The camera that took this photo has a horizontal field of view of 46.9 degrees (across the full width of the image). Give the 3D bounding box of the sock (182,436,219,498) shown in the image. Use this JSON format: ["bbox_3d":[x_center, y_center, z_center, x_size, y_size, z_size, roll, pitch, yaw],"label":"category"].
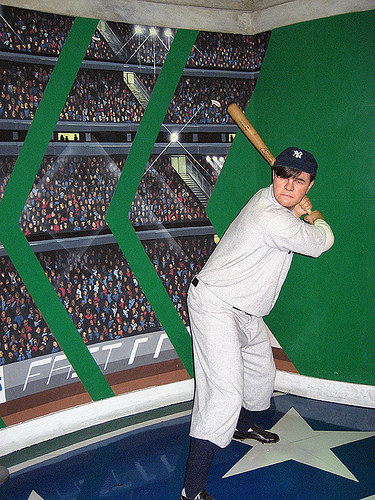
[{"bbox_3d":[0.042,0.769,1.537,0.118,0.203,0.076,0,6,22],"label":"sock"}]

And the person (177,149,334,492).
[{"bbox_3d":[0.264,0.275,1.714,0.501,1.293,0.731,1,7,36],"label":"person"}]

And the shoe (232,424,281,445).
[{"bbox_3d":[0.327,0.859,2.056,0.277,0.106,0.094,-3,-14,18],"label":"shoe"}]

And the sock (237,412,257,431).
[{"bbox_3d":[0.268,0.788,1.991,0.077,0.109,0.046,-3,6,-10],"label":"sock"}]
